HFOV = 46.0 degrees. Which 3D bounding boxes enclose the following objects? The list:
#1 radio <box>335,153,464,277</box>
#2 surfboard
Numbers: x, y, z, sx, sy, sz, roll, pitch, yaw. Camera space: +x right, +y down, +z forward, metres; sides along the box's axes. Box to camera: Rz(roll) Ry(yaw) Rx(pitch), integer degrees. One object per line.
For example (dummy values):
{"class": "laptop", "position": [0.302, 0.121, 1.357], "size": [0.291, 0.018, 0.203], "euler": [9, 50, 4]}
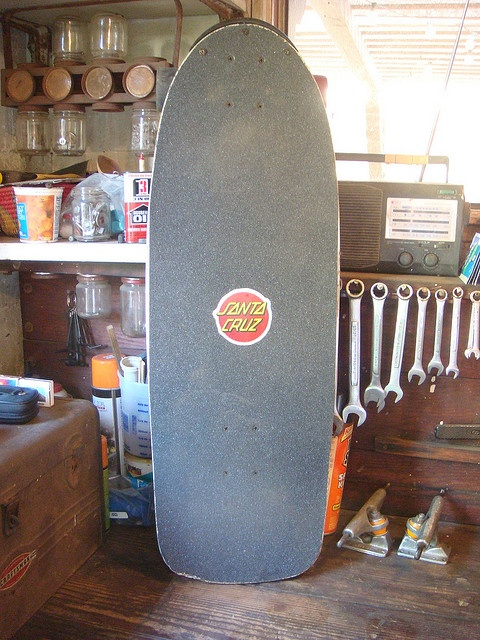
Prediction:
{"class": "radio", "position": [0.371, -0.213, 1.325], "size": [0.283, 0.215, 0.045], "euler": [3, 13, 8]}
{"class": "surfboard", "position": [0.004, 0.005, 1.090], "size": [0.360, 1.097, 0.119], "euler": [-1, 13, -8]}
